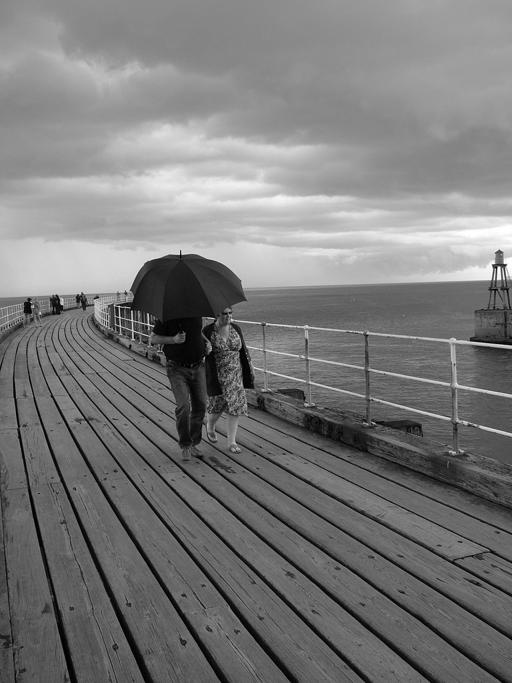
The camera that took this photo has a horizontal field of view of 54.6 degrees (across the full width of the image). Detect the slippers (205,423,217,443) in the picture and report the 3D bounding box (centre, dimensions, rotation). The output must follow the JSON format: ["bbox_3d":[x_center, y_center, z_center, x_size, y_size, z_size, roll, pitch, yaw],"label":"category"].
[{"bbox_3d":[-0.475,0.945,5.326,0.093,0.273,0.075,-10,13,-38],"label":"slippers"}]

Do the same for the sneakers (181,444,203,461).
[{"bbox_3d":[-0.620,1.070,4.787,0.118,0.140,0.171,-8,-13,42],"label":"sneakers"}]

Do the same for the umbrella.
[{"bbox_3d":[-0.672,-0.554,4.551,1.100,0.395,1.166,5,23,11],"label":"umbrella"}]

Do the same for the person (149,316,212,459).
[{"bbox_3d":[-0.702,0.451,4.597,0.522,1.174,0.342,0,0,-19],"label":"person"}]

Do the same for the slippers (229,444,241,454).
[{"bbox_3d":[-0.202,1.058,4.912,0.056,0.048,0.116,-2,2,-18],"label":"slippers"}]

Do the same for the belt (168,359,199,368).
[{"bbox_3d":[-0.677,0.218,4.651,0.271,0.062,0.103,0,1,2],"label":"belt"}]
